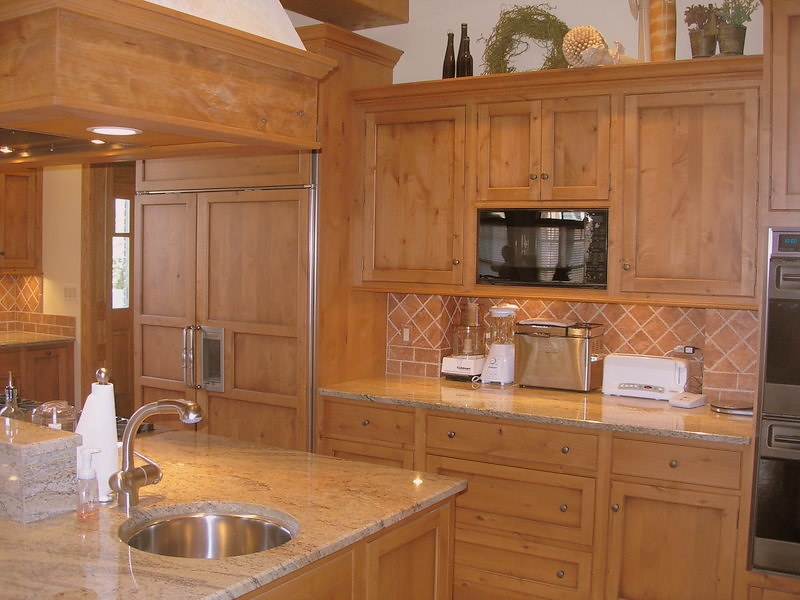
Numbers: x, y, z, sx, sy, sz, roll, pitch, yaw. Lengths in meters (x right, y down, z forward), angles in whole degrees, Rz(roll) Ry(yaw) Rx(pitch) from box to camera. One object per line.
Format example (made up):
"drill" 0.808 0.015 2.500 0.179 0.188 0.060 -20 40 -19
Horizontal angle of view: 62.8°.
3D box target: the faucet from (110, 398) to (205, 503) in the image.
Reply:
"faucet" -0.754 0.480 2.100 0.328 0.346 0.142 2 6 10

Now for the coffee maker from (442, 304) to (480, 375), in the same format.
"coffee maker" 0.472 0.261 4.249 0.364 0.451 0.353 1 5 9

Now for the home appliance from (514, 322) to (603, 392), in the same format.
"home appliance" 0.834 0.337 3.899 0.525 0.328 0.297 4 -7 -11

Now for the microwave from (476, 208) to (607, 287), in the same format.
"microwave" 0.800 -0.295 3.669 0.855 0.435 0.437 1 0 29
